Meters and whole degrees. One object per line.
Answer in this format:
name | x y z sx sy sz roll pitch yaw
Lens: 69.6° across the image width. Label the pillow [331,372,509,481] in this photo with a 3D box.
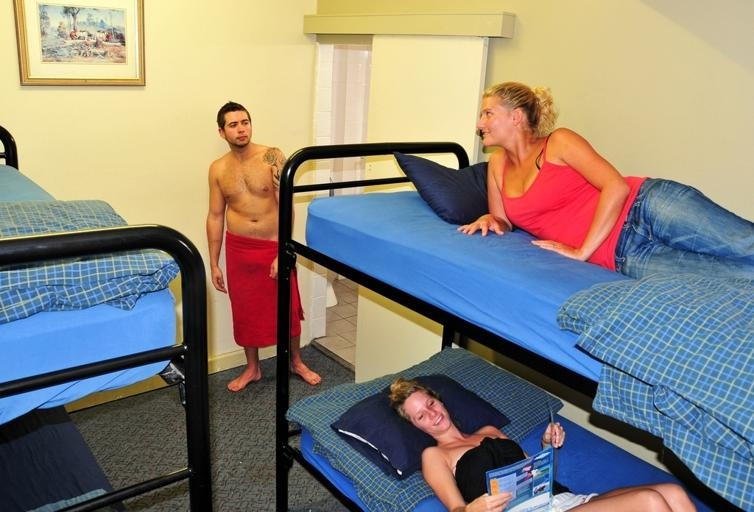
pillow | 0.243 0.826 2.778 0.689 0.184 0.456 -15 40 -35
